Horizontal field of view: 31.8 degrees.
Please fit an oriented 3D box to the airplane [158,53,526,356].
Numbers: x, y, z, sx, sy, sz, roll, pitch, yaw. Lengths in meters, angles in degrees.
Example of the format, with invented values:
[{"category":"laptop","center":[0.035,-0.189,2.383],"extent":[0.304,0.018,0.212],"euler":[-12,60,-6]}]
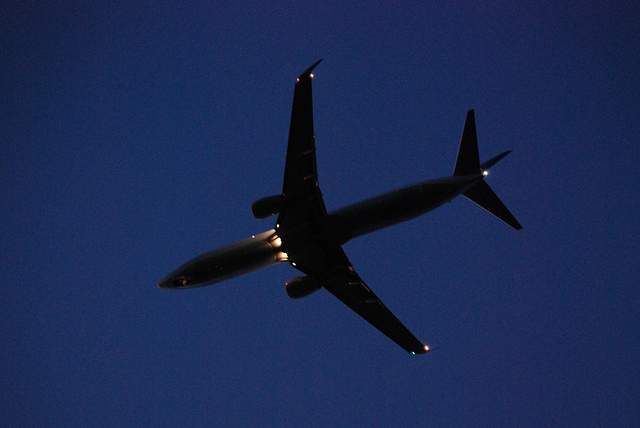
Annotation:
[{"category":"airplane","center":[0.288,0.631,41.555],"extent":[12.873,3.270,9.859],"euler":[-11,-81,11]}]
